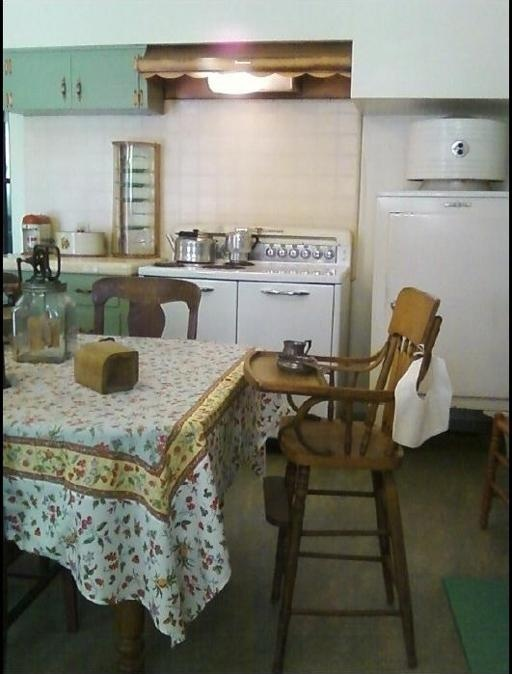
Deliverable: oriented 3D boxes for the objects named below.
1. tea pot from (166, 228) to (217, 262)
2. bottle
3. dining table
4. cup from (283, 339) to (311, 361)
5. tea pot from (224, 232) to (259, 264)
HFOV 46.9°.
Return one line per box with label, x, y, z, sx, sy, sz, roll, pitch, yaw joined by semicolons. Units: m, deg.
tea pot;-0.181;-0.249;1.628;0.116;0.078;0.085;-6;11;-42
bottle;-0.294;-0.017;0.819;0.076;0.146;0.076;2;20;-1
dining table;-0.171;0.165;0.835;0.331;0.269;0.432;3;16;7
cup;0.063;0.020;0.899;0.036;0.029;0.028;3;2;-5
tea pot;-0.038;-0.240;1.574;0.062;0.092;0.100;1;9;4
